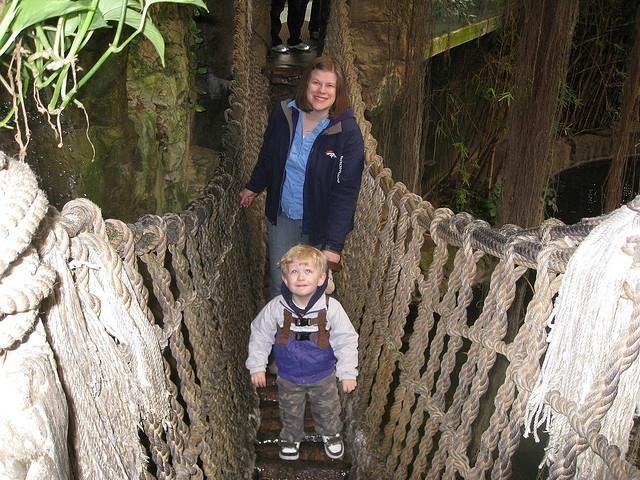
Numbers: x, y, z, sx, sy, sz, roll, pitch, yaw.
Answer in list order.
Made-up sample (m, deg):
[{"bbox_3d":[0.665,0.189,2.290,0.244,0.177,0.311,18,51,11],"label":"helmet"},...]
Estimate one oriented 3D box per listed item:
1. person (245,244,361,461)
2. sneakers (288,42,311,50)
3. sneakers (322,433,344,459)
[{"bbox_3d":[-0.071,0.471,2.785,0.448,0.929,0.326,4,5,-7],"label":"person"},{"bbox_3d":[-0.193,-1.987,7.068,0.177,0.081,0.106,6,35,18],"label":"sneakers"},{"bbox_3d":[0.060,0.857,2.883,0.053,0.057,0.137,-2,1,-13],"label":"sneakers"}]
